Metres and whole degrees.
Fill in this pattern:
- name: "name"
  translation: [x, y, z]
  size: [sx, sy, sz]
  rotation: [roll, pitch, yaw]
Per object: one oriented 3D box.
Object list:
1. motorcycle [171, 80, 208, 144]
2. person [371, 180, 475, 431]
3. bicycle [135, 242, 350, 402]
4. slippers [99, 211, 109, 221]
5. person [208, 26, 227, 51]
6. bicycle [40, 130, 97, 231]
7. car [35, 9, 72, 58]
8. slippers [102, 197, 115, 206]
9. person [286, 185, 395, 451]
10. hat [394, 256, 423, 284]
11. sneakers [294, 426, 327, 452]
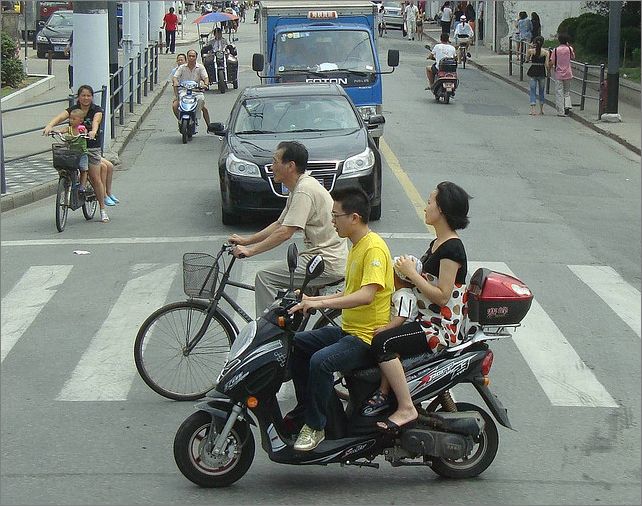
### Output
- name: "motorcycle"
  translation: [-3.382, -3.609, 18.829]
  size: [0.633, 1.357, 1.713]
  rotation: [-1, 17, -9]
- name: "person"
  translation: [0.645, 0.332, 4.899]
  size: [0.671, 1.577, 0.552]
  rotation: [2, -1, 30]
- name: "bicycle"
  translation: [-0.664, 0.506, 6.217]
  size: [1.737, 1.151, 0.896]
  rotation: [0, 15, -9]
- name: "slippers"
  translation: [-3.428, -0.595, 11.612]
  size: [0.117, 0.171, 0.299]
  rotation: [-3, 18, -17]
- name: "person"
  translation: [-3.922, -8.003, 28.122]
  size: [0.615, 0.714, 1.199]
  rotation: [-1, 4, -1]
- name: "bicycle"
  translation: [-3.821, -1.041, 11.277]
  size: [0.394, 1.247, 1.063]
  rotation: [7, 17, 17]
- name: "car"
  translation: [-12.982, -10.452, 35.733]
  size: [1.592, 2.087, 2.339]
  rotation: [-1, 17, -11]
- name: "slippers"
  translation: [-3.600, -0.859, 12.433]
  size: [0.222, 0.094, 0.084]
  rotation: [16, 25, 32]
- name: "person"
  translation: [0.105, 0.381, 4.885]
  size: [0.777, 1.579, 0.779]
  rotation: [-2, 3, 6]
- name: "hat"
  translation: [0.569, 0.098, 4.765]
  size: [0.152, 0.195, 0.077]
  rotation: [-33, 0, -8]
- name: "sneakers"
  translation: [-0.076, 1.154, 4.624]
  size: [0.092, 0.101, 0.244]
  rotation: [9, 8, 19]
